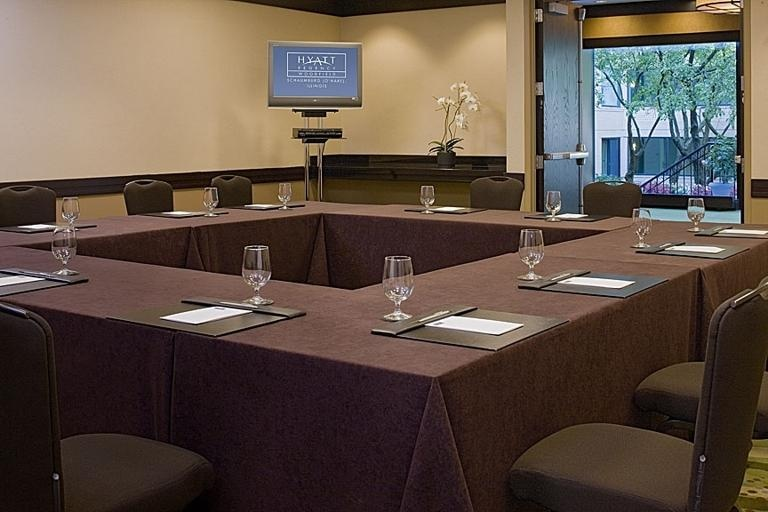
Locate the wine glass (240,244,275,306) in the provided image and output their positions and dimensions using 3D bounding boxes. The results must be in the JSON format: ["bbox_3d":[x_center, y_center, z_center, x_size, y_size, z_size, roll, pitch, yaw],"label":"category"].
[{"bbox_3d":[-0.510,0.062,2.136,0.109,0.254,0.364,-4,12,-14],"label":"wine glass"}]

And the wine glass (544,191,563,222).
[{"bbox_3d":[1.308,-0.396,4.147,0.107,0.255,0.512,3,13,18],"label":"wine glass"}]

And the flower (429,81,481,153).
[{"bbox_3d":[1.000,-2.029,7.888,0.772,1.030,0.471,2,12,12],"label":"flower"}]

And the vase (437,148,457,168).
[{"bbox_3d":[0.899,-1.424,7.755,0.231,0.190,0.247,0,5,13],"label":"vase"}]
